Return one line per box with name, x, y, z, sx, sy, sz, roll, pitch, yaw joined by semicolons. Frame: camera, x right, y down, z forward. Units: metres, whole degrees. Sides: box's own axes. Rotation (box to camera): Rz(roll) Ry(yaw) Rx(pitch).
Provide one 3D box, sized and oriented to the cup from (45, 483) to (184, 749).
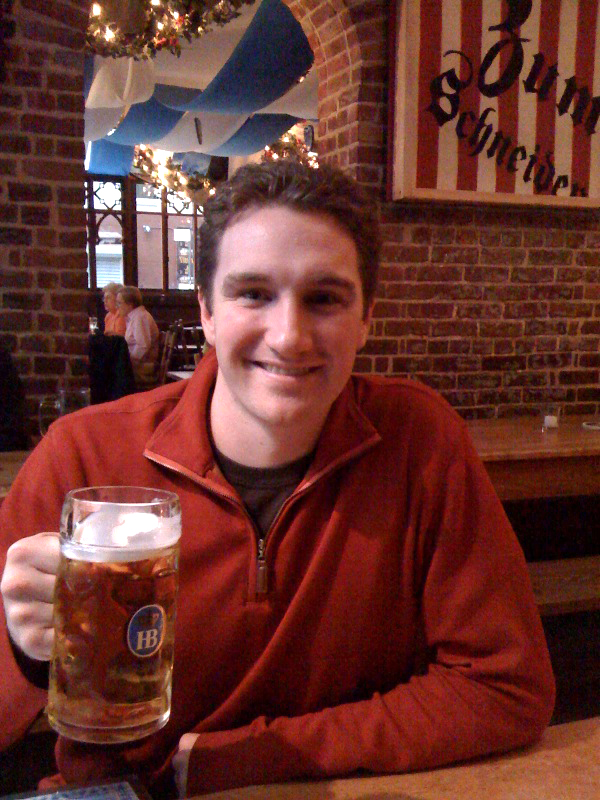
cup;-0.146;0.169;0.531;0.098;0.185;0.055;-1;6;-21
